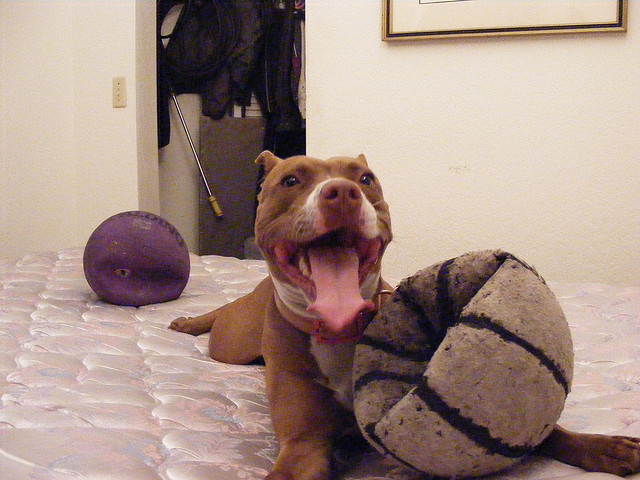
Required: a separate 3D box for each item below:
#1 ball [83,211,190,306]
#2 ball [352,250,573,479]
[{"bbox_3d":[-0.508,0.056,1.563,0.280,0.256,0.171,0,20,-7],"label":"ball"},{"bbox_3d":[0.200,0.197,0.789,0.202,0.266,0.298,19,-40,-26],"label":"ball"}]
